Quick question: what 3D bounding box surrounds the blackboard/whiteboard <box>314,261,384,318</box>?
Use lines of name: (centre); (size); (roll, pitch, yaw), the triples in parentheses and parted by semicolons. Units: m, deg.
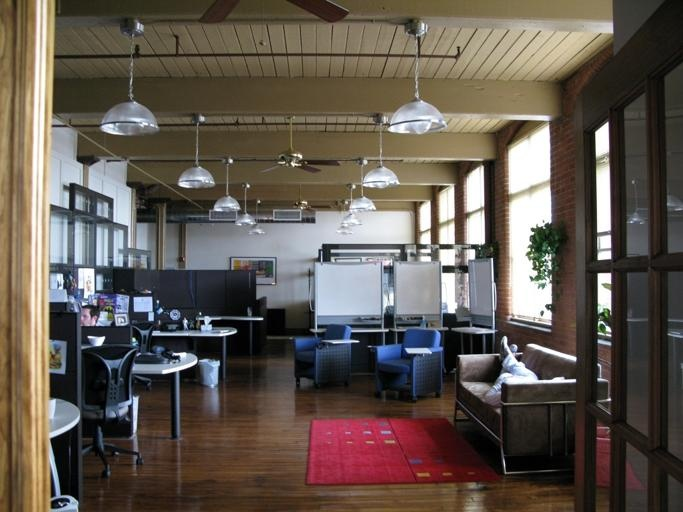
blackboard/whiteboard: (0.109, 0.639, 9.541); (1.140, 1.008, 0.741); (0, -7, -3)

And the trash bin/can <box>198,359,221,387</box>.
trash bin/can: (-1.808, 1.632, 8.946); (0.333, 0.351, 0.294); (-4, -7, 32)

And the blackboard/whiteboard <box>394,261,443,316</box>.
blackboard/whiteboard: (1.099, 0.511, 9.611); (0.904, 0.959, 0.689); (0, -8, -3)

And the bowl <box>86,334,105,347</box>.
bowl: (-2.297, 0.798, 5.987); (0.105, 0.065, 0.109); (2, -12, 0)

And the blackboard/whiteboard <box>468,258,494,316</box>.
blackboard/whiteboard: (1.989, 0.444, 9.074); (0.089, 0.945, 0.835); (1, 0, -13)

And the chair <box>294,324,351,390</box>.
chair: (-0.269, 1.365, 8.954); (0.703, 1.040, 1.004); (3, -6, -23)
